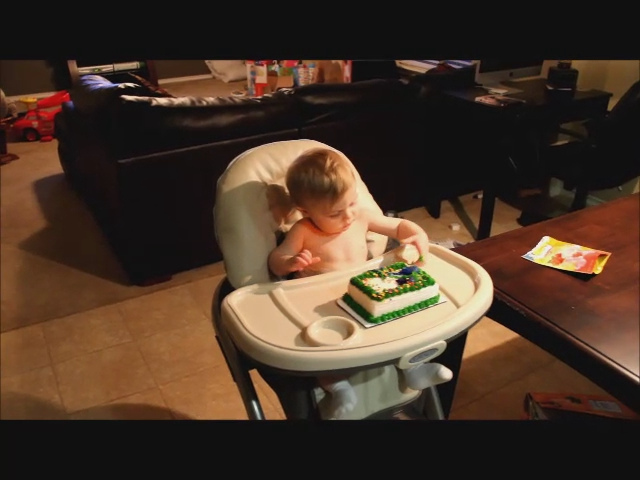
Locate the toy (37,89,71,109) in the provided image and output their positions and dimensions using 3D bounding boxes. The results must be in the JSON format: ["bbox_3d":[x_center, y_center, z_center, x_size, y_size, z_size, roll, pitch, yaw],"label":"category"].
[{"bbox_3d":[-0.571,-0.307,1.012,0.052,0.021,0.014,-20,69,13],"label":"toy"}]

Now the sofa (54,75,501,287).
[{"bbox_3d":[-0.148,-0.214,1.068,0.932,0.391,0.493,-10,38,-14],"label":"sofa"}]

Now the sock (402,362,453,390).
[{"bbox_3d":[0.233,0.300,1.037,0.100,0.063,0.024,-18,-1,-2],"label":"sock"}]

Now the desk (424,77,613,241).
[{"bbox_3d":[0.443,-0.224,1.093,0.232,0.359,0.239,-16,32,-25],"label":"desk"}]

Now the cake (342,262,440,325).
[{"bbox_3d":[0.148,0.098,0.960,0.165,0.050,0.110,-14,36,-20],"label":"cake"}]

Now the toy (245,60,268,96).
[{"bbox_3d":[-0.147,-0.364,1.046,0.056,0.074,0.055,-10,21,-38],"label":"toy"}]
